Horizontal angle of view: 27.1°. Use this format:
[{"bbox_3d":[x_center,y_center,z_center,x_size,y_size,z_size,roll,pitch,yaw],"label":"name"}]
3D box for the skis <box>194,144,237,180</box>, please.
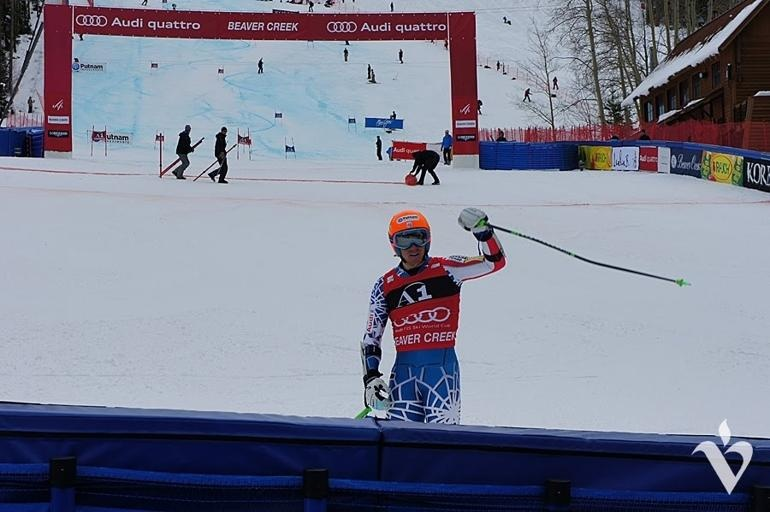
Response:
[{"bbox_3d":[-7.316,-4.061,68.932,2.722,0.150,0.132,-42,-5,-3],"label":"skis"}]
